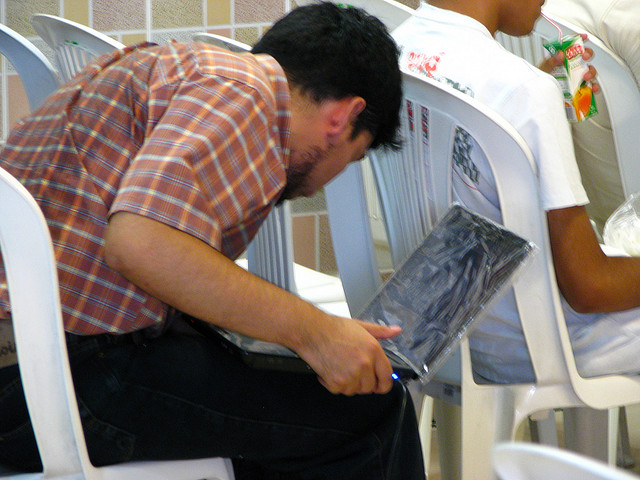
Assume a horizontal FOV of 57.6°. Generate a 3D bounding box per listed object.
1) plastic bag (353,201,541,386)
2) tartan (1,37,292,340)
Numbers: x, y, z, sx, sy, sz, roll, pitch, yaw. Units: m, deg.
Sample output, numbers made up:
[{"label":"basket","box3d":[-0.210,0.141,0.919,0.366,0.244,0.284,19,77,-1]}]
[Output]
[{"label":"plastic bag","box3d":[0.270,0.113,1.183,0.044,0.403,0.317,37,8,-26]},{"label":"tartan","box3d":[-0.325,-0.088,1.060,0.529,0.524,0.322,5,20,-3]}]
